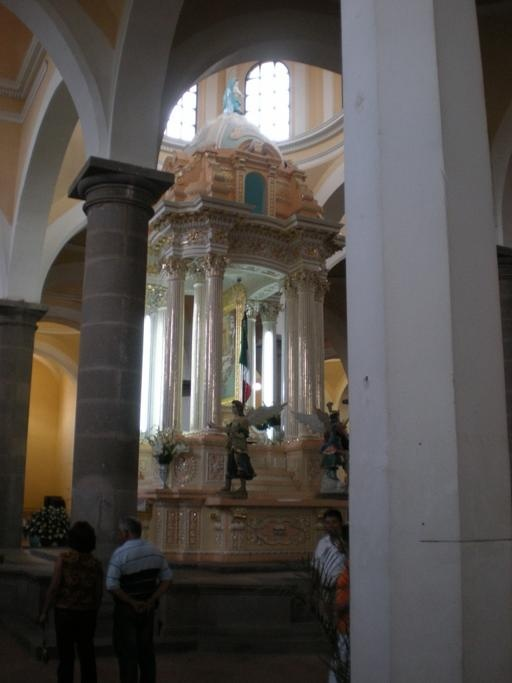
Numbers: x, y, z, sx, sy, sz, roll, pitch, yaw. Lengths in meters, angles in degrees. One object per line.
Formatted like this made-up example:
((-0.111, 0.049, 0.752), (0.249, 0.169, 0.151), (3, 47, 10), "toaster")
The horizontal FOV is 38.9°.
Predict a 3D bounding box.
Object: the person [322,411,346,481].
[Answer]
((1.054, 1.390, 9.796), (0.347, 0.899, 0.577), (3, 1, 8), "person")

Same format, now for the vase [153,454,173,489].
((-1.339, 1.864, 10.506), (0.240, 0.496, 0.392), (3, 1, -6), "vase")

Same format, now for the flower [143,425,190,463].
((-1.270, 1.560, 10.650), (0.548, 0.490, 0.520), (3, 1, -32), "flower")
